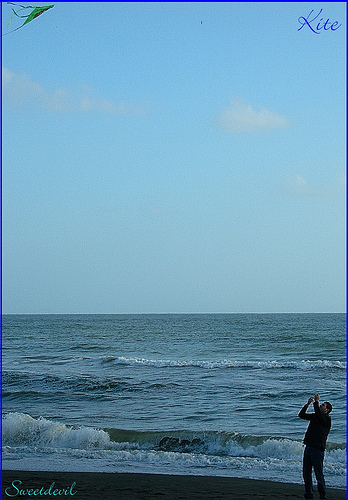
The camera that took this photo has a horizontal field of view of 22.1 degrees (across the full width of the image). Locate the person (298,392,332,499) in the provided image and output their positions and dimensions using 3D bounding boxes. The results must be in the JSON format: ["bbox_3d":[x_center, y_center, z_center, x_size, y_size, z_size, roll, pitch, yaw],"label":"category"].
[{"bbox_3d":[3.025,4.200,19.119,0.573,2.233,0.662,-1,-5,40],"label":"person"}]
